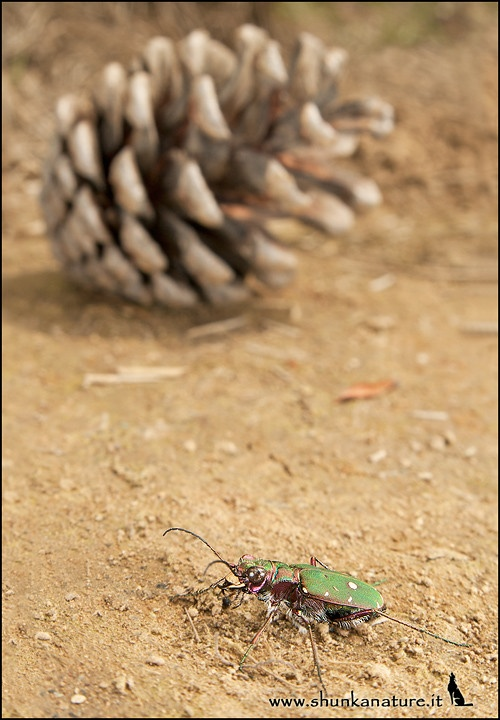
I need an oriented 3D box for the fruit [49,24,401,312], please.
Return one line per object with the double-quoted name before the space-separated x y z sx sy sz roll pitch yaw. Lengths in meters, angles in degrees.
"fruit" -0.105 -0.328 1.493 0.477 0.377 0.582 7 -2 22
